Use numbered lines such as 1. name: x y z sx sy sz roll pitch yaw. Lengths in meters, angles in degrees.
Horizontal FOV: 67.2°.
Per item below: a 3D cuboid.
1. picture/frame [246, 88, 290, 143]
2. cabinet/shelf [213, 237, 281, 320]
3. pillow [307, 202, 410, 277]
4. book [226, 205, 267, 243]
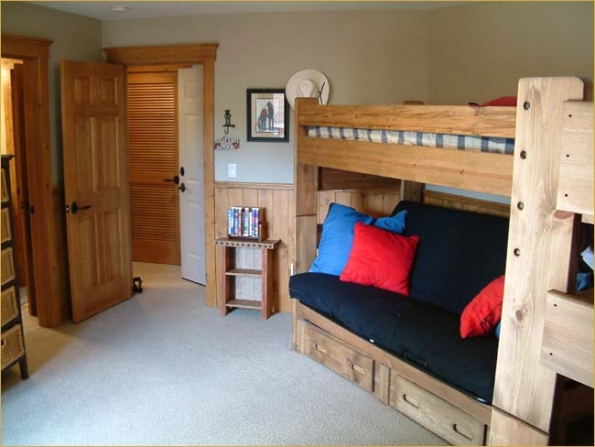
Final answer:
1. picture/frame: -0.280 -1.086 4.422 0.518 0.610 0.044 1 6 4
2. cabinet/shelf: -0.507 0.554 4.601 0.779 0.916 0.321 1 3 16
3. pillow: 0.437 0.138 3.954 0.644 0.653 0.194 8 -12 40
4. book: -0.503 0.009 4.530 0.371 0.333 0.139 1 0 16
